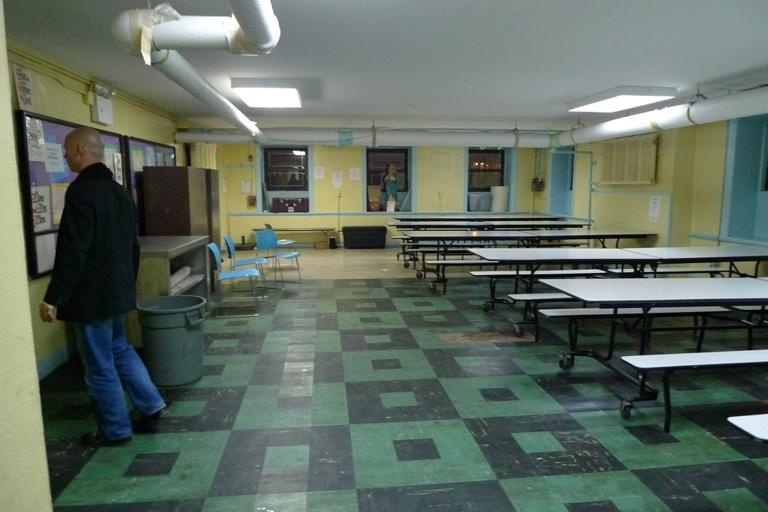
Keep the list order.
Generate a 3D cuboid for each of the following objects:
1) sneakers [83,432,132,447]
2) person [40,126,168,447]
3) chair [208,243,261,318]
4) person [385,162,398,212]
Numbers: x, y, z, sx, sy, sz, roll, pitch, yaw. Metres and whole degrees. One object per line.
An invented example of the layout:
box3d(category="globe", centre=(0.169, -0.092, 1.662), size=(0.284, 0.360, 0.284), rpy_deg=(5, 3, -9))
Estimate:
box3d(category="sneakers", centre=(-2.353, 1.553, 4.399), size=(0.443, 0.136, 0.137), rpy_deg=(0, -2, -4))
box3d(category="person", centre=(-2.388, 0.256, 4.350), size=(0.747, 2.640, 0.691), rpy_deg=(1, 13, 1))
box3d(category="chair", centre=(-2.466, 0.433, 8.266), size=(0.754, 0.690, 1.327), rpy_deg=(-1, 7, -7))
box3d(category="person", centre=(0.171, -1.892, 14.296), size=(0.390, 1.284, 0.343), rpy_deg=(-1, 14, -8))
